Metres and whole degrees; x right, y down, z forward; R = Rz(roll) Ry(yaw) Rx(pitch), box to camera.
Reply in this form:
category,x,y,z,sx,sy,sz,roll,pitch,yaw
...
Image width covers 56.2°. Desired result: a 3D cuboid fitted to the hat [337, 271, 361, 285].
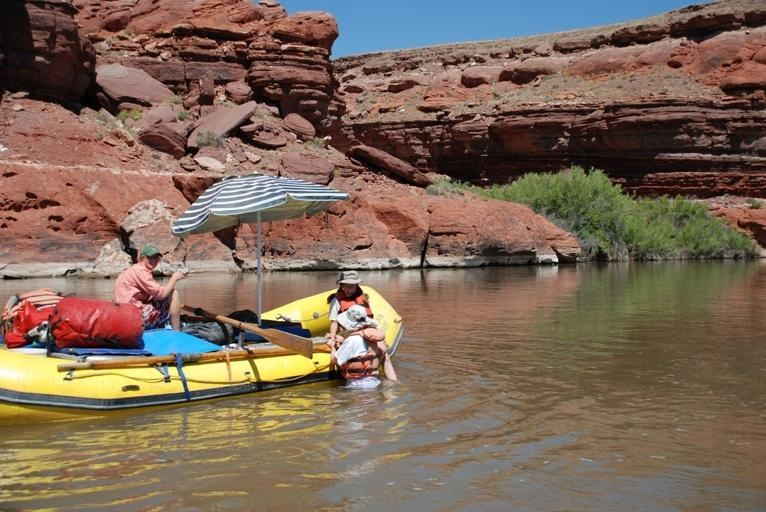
category,x,y,z,sx,sy,sz,roll,pitch,yaw
hat,-0.552,0.362,11.896,0.388,0.098,0.365,0,-8,-1

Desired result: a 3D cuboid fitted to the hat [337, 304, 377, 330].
category,x,y,z,sx,sy,sz,roll,pitch,yaw
hat,-0.461,1.005,11.577,0.565,0.156,0.553,-3,7,-15
